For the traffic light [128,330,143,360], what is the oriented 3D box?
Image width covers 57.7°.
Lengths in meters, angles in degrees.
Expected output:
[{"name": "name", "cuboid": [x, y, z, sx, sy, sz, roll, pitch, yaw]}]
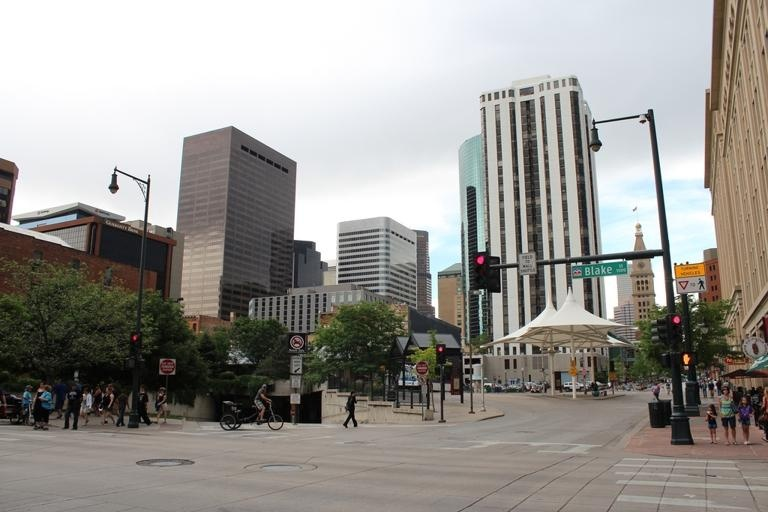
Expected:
[{"name": "traffic light", "cuboid": [-14.361, 5.197, 40.345, 0.555, 1.711, 1.149, 1, -16, -14]}]

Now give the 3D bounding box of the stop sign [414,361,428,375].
[{"name": "stop sign", "cuboid": [2.574, 7.571, 47.321, 0.677, 0.950, 1.268, -4, -15, 5]}]

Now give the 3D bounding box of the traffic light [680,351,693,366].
[{"name": "traffic light", "cuboid": [14.316, 4.842, 32.983, 0.516, 0.560, 0.290, 6, -17, -29]}]
